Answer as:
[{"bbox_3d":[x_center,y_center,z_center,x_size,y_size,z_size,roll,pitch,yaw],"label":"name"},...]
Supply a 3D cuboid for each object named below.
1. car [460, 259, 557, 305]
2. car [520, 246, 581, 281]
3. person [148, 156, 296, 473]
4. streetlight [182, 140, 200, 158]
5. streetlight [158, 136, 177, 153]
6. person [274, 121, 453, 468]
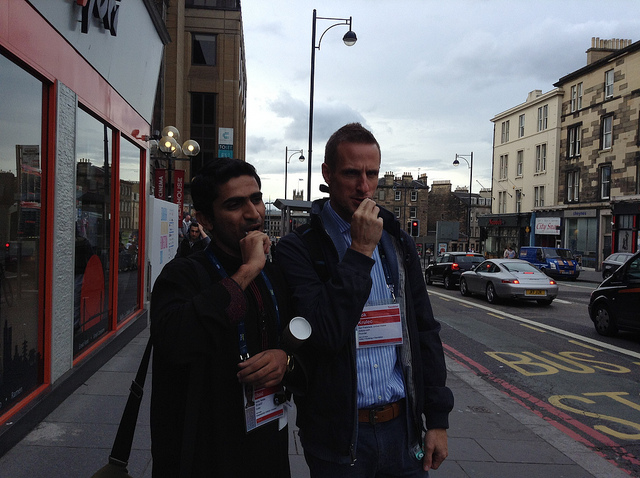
[{"bbox_3d":[5.874,1.303,16.178,1.200,0.890,2.738,2,4,-7],"label":"car"},{"bbox_3d":[11.625,1.252,25.008,1.346,1.256,2.326,1,-3,-11],"label":"car"},{"bbox_3d":[-0.512,0.378,2.629,0.749,1.653,0.459,1,1,-19],"label":"person"},{"bbox_3d":[-3.405,-2.372,12.994,0.361,0.421,0.613,1,2,-24],"label":"streetlight"},{"bbox_3d":[-3.600,-2.246,11.797,0.365,0.431,0.163,3,5,-19],"label":"streetlight"},{"bbox_3d":[0.246,0.298,2.831,1.016,1.938,0.458,1,1,-16],"label":"person"}]
